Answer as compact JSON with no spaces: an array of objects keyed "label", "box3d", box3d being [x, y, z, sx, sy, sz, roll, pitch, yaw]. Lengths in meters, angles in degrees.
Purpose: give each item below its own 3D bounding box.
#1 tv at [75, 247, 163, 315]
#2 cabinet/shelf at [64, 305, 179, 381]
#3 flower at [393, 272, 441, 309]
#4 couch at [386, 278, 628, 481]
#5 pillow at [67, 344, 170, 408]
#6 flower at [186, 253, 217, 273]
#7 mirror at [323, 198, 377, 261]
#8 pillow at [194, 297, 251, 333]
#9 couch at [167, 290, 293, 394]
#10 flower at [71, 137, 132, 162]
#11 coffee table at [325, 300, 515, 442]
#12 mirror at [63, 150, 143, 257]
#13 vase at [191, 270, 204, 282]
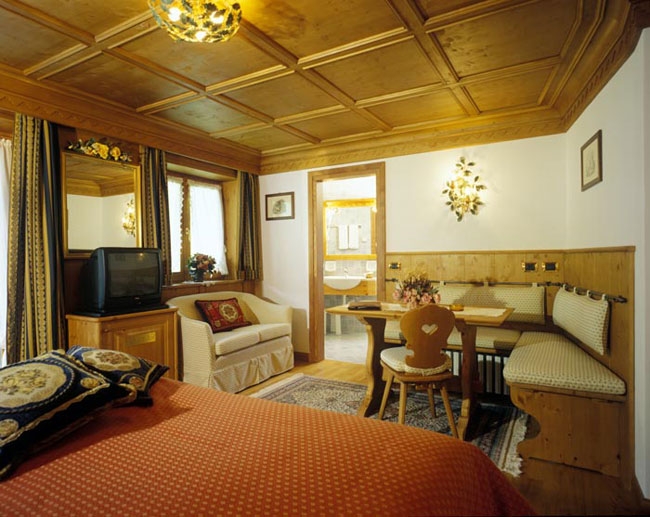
[{"label":"tv","box3d":[-2.071,0.228,4.265,0.559,0.618,0.694,-2,0,25]},{"label":"cabinet/shelf","box3d":[-1.653,0.644,3.373,0.431,0.747,0.842,-1,-1,28]},{"label":"flower","box3d":[0.858,0.274,3.859,0.316,0.267,0.411,1,2,38]},{"label":"couch","box3d":[1.700,0.791,3.545,1.122,1.016,1.361,-17,16,-15]},{"label":"pillow","box3d":[-1.095,0.580,2.231,0.350,0.100,0.325,21,5,13]},{"label":"flower","box3d":[-1.606,0.068,5.378,0.267,0.160,0.270,-1,0,32]},{"label":"mirror","box3d":[0.493,-0.517,7.587,1.211,1.291,0.127,0,0,24]},{"label":"pillow","box3d":[-1.139,0.641,5.201,0.676,0.462,0.205,-16,4,21]},{"label":"couch","box3d":[-1.101,0.935,5.091,0.809,1.001,1.514,-1,0,31]},{"label":"flower","box3d":[-2.230,-1.078,4.242,0.071,0.214,0.670,5,10,30]},{"label":"coffee table","box3d":[0.903,0.939,3.920,1.506,0.949,0.815,-1,4,32]},{"label":"mirror","box3d":[-2.358,-0.452,4.493,0.752,1.035,1.085,-1,-2,28]},{"label":"vase","box3d":[-1.594,0.222,5.310,0.244,0.127,0.129,-1,8,-18]}]
